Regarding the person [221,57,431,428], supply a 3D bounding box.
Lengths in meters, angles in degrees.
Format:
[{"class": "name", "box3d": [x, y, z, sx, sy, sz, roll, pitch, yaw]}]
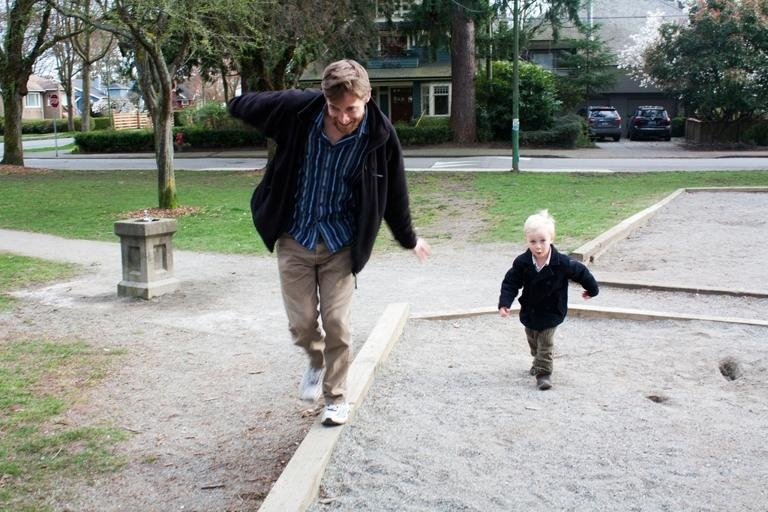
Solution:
[{"class": "person", "box3d": [-0.424, 0.018, 5.110, 1.298, 2.607, 0.588, -3, 9, -13]}]

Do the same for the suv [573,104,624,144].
[{"class": "suv", "box3d": [13.304, -8.259, 40.245, 2.130, 2.241, 3.854, 6, 11, 41]}]

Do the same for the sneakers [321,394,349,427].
[{"class": "sneakers", "box3d": [-0.384, 1.240, 5.196, 0.122, 0.140, 0.316, 2, -3, 11]}]

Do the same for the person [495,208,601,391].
[{"class": "person", "box3d": [1.512, 0.363, 6.037, 0.859, 1.574, 0.575, 1, 9, 16]}]

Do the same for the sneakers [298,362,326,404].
[{"class": "sneakers", "box3d": [-0.618, 1.081, 5.492, 0.166, 0.184, 0.439, 1, 3, -3]}]

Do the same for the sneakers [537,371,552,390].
[{"class": "sneakers", "box3d": [1.452, 1.129, 5.916, 0.105, 0.139, 0.325, -1, -10, 11]}]
